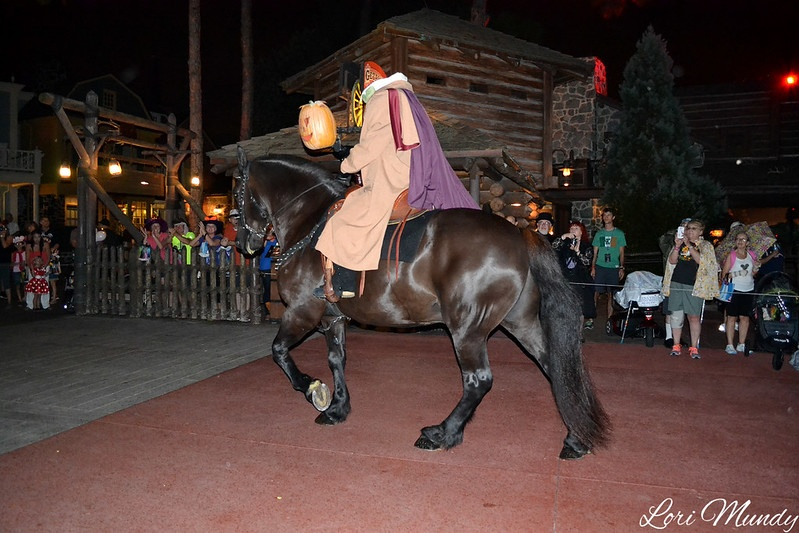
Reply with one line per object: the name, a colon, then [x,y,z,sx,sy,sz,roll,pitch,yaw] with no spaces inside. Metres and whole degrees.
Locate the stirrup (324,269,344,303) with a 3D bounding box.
stirrup: [-0.776,0.202,6.714,0.113,0.346,0.255,-4,-10,11]

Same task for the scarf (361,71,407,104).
scarf: [-0.182,-2.213,6.978,0.531,0.198,0.319,-27,22,-14]

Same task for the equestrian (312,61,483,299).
equestrian: [0.040,-1.075,7.009,1.883,3.053,1.261,-4,-11,14]

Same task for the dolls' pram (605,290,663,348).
dolls' pram: [4.603,0.992,11.123,0.624,0.831,1.400,1,-2,3]

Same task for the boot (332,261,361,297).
boot: [-0.587,0.126,6.597,0.290,0.420,0.239,-13,-6,-7]
